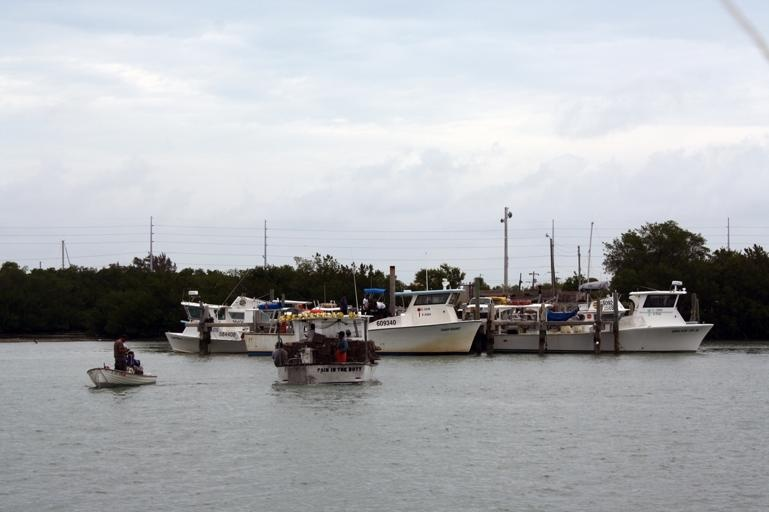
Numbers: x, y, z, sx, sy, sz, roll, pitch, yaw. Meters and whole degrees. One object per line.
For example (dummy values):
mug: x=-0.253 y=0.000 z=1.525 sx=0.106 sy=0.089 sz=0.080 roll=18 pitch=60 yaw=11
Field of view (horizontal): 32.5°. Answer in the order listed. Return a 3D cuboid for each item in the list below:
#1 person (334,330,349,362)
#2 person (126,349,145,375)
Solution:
person: x=-2.384 y=5.442 z=79.892 sx=0.716 sy=1.819 sz=1.206 roll=5 pitch=9 yaw=34
person: x=-15.355 y=6.616 z=81.404 sx=1.068 sy=1.589 sz=0.679 roll=-15 pitch=-21 yaw=-18
